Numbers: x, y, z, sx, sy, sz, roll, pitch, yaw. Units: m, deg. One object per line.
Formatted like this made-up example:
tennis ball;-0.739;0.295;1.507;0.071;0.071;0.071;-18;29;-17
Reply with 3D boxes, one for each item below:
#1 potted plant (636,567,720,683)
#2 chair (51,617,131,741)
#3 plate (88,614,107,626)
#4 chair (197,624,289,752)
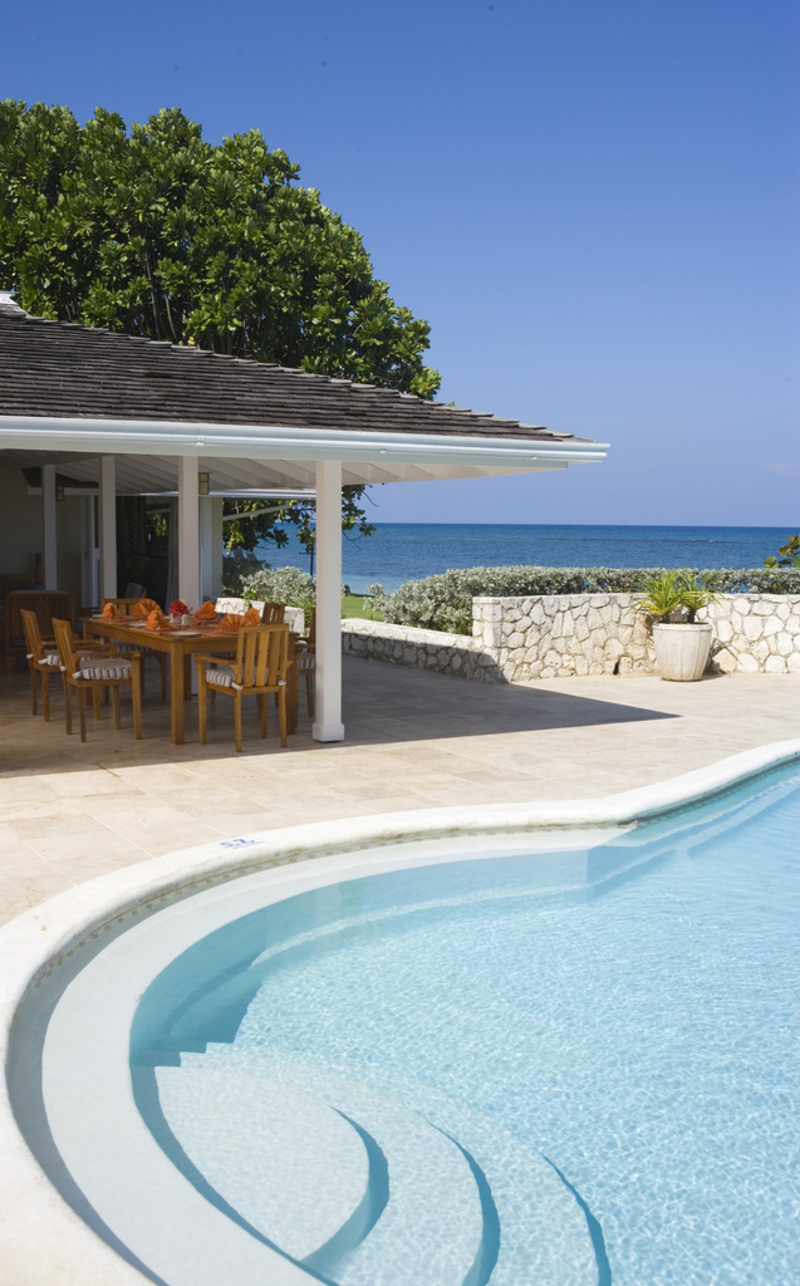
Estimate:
potted plant;4.189;-0.319;15.283;1.318;2.104;1.524;1;4;37
chair;-3.017;0.351;10.116;0.821;1.176;0.889;-2;2;-41
plate;-3.492;-0.270;11.687;0.165;0.049;0.185;-3;16;-29
chair;-1.460;0.369;9.565;0.689;1.172;0.763;-3;9;-28
